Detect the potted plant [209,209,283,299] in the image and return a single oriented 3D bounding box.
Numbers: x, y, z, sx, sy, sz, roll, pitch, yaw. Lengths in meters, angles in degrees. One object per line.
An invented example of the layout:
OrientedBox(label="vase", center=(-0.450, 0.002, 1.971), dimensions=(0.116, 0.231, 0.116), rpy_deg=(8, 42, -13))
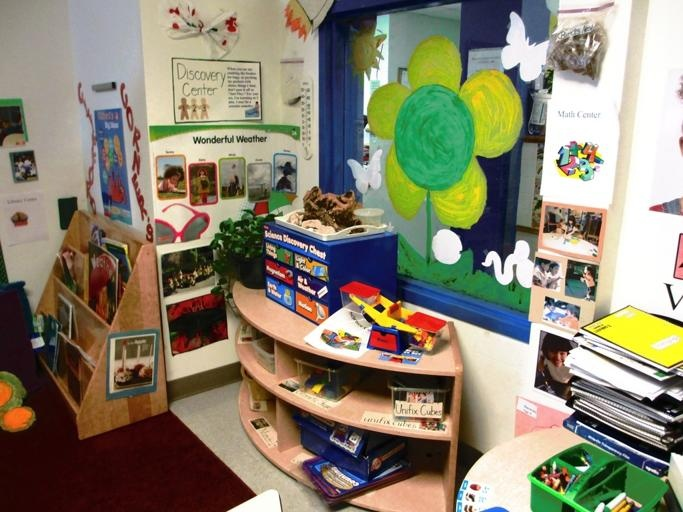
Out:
OrientedBox(label="potted plant", center=(-0.540, -0.044, 3.118), dimensions=(0.478, 0.527, 0.476), rpy_deg=(2, 5, 38))

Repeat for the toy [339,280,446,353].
OrientedBox(label="toy", center=(0.214, 0.258, 2.280), dimensions=(0.496, 0.117, 0.246), rpy_deg=(25, 38, 26))

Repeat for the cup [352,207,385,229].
OrientedBox(label="cup", center=(0.149, -0.205, 2.583), dimensions=(0.109, 0.058, 0.110), rpy_deg=(-1, 12, 0))

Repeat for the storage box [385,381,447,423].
OrientedBox(label="storage box", center=(0.341, 0.638, 2.206), dimensions=(0.197, 0.115, 0.146), rpy_deg=(1, -3, 8))

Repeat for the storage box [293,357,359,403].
OrientedBox(label="storage box", center=(-0.088, 0.603, 2.493), dimensions=(0.206, 0.140, 0.213), rpy_deg=(5, 5, 35))

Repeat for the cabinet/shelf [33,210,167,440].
OrientedBox(label="cabinet/shelf", center=(-1.424, 0.444, 2.984), dimensions=(0.424, 0.900, 1.019), rpy_deg=(-4, 19, -35))

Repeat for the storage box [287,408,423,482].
OrientedBox(label="storage box", center=(0.010, 0.923, 2.483), dimensions=(0.366, 0.143, 0.308), rpy_deg=(15, 10, 42))
